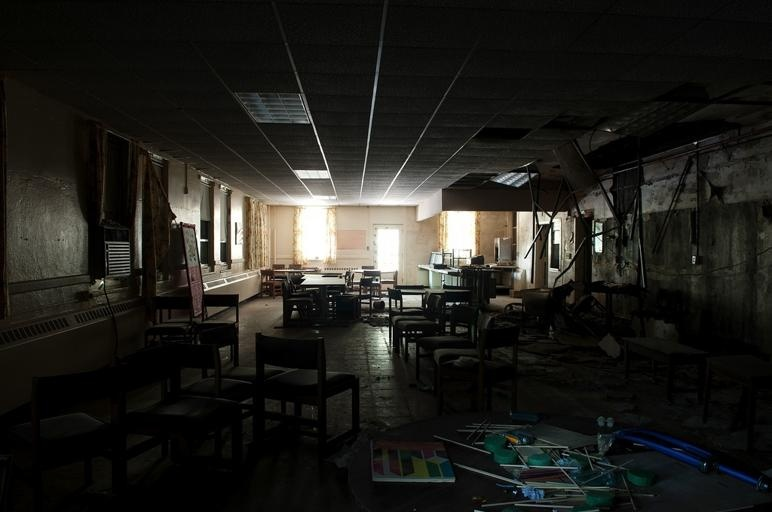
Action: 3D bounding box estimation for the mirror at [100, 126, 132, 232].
[{"bbox_3d":[-4.039,-1.100,7.621,0.208,1.363,0.493,0,1,18],"label":"mirror"}]

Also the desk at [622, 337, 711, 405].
[{"bbox_3d":[3.508,1.526,6.389,0.637,0.637,1.343,1,0,-4],"label":"desk"}]
